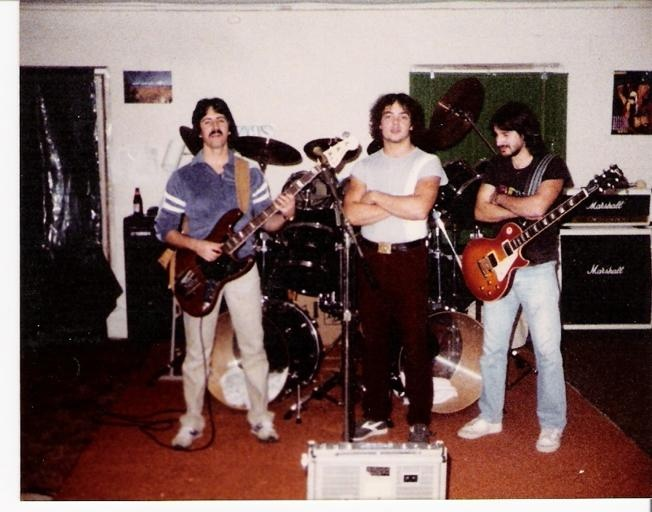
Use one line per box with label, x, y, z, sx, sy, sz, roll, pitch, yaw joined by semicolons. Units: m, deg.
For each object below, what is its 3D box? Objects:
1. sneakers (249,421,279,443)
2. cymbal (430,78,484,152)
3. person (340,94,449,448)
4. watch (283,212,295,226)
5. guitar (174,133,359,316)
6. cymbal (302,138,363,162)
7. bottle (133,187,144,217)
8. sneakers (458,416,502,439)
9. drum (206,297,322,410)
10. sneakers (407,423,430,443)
sneakers;-0.438;1.238;4.261;0.158;0.131;0.065;16;11;7
cymbal;1.093;-1.182;5.061;0.601;0.591;0.158;-28;43;-18
person;0.439;0.106;4.151;0.666;2.405;0.644;3;9;15
watch;-0.266;-0.267;4.306;0.076;0.049;0.078;33;-4;13
guitar;-0.513;-0.152;4.099;1.127;1.158;0.345;3;9;15
cymbal;0.078;-0.967;5.415;0.466;0.114;0.487;3;-16;-14
bottle;-1.895;-0.564;6.131;0.090;0.264;0.207;-2;10;-14
sneakers;1.103;1.239;4.310;0.256;0.111;0.157;5;47;-3
drum;-0.495;0.797;4.873;0.831;0.945;0.537;-16;-17;42
sneakers;0.632;1.203;4.081;0.148;0.123;0.142;-1;-4;-15
